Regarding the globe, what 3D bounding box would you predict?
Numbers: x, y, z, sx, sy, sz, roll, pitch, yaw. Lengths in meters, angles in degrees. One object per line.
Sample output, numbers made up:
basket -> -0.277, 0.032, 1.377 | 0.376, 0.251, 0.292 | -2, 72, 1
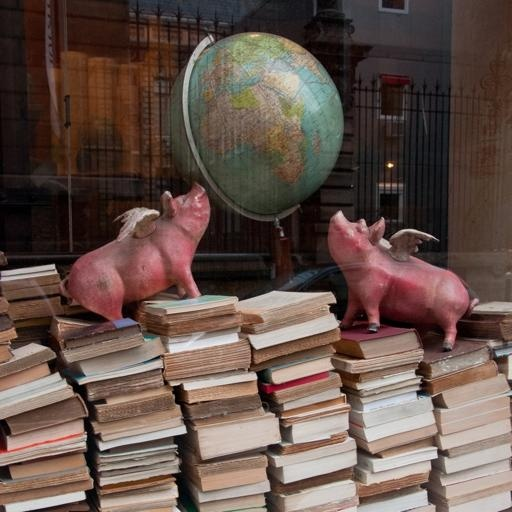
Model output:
globe -> 0.071, -0.370, 3.570 | 0.718, 0.969, 0.707 | -15, 28, -21
